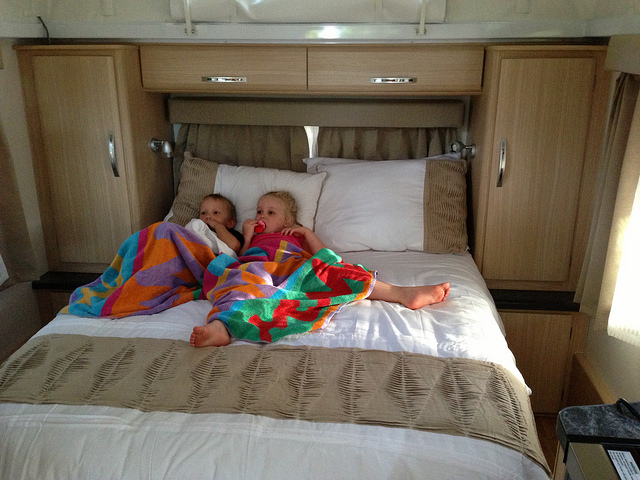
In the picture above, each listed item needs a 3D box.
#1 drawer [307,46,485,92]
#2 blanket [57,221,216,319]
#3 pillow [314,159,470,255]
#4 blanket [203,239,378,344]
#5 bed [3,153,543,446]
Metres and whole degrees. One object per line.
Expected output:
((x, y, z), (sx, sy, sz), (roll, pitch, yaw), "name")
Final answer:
((0.415, -0.933, 2.458), (1.044, 0.242, 0.149), (-7, 18, -16), "drawer")
((-0.750, 0.147, 1.949), (0.417, 0.216, 0.570), (14, 25, 31), "blanket")
((0.400, -0.187, 2.408), (0.843, 0.515, 0.228), (2, -10, 5), "pillow")
((-0.126, 0.162, 1.971), (0.760, 0.174, 0.766), (-1, 24, 3), "blanket")
((-0.143, 0.043, 1.997), (1.819, 0.643, 1.624), (3, 18, 5), "bed")
